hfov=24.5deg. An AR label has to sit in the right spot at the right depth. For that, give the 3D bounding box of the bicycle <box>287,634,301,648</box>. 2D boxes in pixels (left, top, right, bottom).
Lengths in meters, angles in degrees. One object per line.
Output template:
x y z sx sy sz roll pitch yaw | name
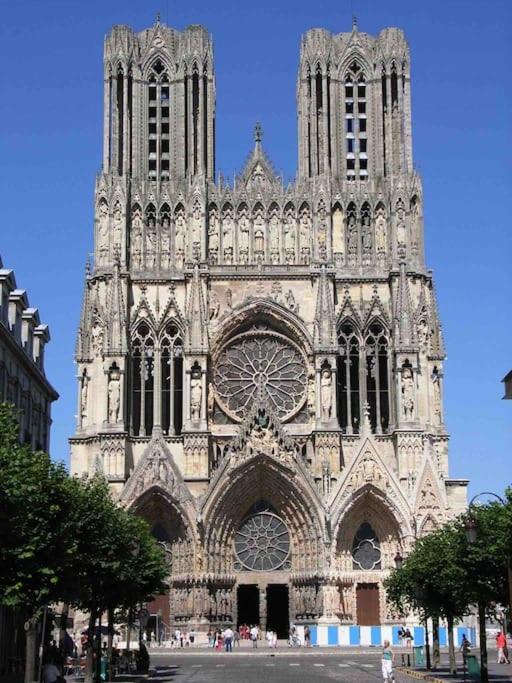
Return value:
1.617 13.888 54.650 0.326 0.460 0.687 12 -31 -32 | bicycle

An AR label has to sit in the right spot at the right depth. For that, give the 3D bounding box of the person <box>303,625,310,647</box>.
2.214 13.518 54.177 0.268 0.948 0.653 -3 -17 2 | person
